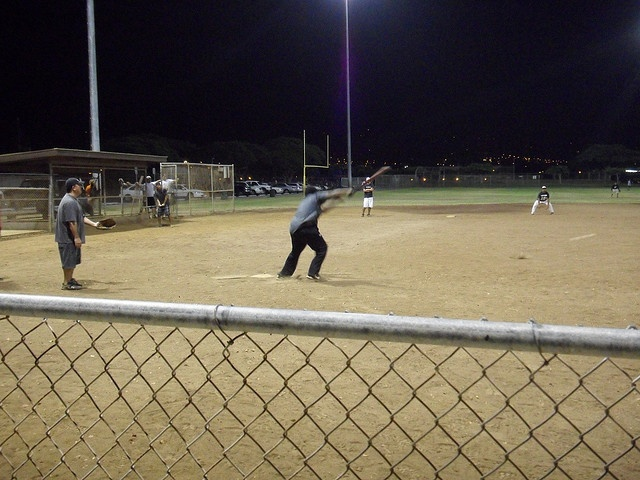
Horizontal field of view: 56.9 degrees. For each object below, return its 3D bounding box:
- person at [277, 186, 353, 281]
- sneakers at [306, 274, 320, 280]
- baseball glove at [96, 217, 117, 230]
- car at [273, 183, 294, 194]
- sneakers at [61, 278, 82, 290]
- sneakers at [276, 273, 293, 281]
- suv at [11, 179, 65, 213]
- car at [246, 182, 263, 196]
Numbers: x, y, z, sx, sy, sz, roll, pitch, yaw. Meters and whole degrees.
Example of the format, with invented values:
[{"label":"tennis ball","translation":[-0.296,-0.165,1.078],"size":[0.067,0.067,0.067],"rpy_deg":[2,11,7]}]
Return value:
[{"label":"person","translation":[0.083,-0.139,10.882],"size":[1.376,1.737,1.154],"rpy_deg":[-6,-9,37]},{"label":"sneakers","translation":[-0.021,0.666,10.734],"size":[0.230,0.107,0.089],"rpy_deg":[-3,0,3]},{"label":"baseball glove","translation":[-3.588,-0.295,10.507],"size":[0.378,0.170,0.351],"rpy_deg":[-1,-10,22]},{"label":"car","translation":[-2.812,-4.923,56.901],"size":[1.731,0.867,1.082],"rpy_deg":[-2,8,-5]},{"label":"sneakers","translation":[-4.034,0.759,10.135],"size":[0.320,0.153,0.148],"rpy_deg":[3,3,-20]},{"label":"sneakers","translation":[-0.546,0.686,10.890],"size":[0.256,0.152,0.112],"rpy_deg":[6,-11,-15]},{"label":"suv","translation":[-10.351,-1.699,23.517],"size":[2.413,1.492,1.442],"rpy_deg":[-1,16,-28]},{"label":"car","translation":[-5.401,-4.659,54.371],"size":[1.570,0.824,0.972],"rpy_deg":[10,10,28]}]
